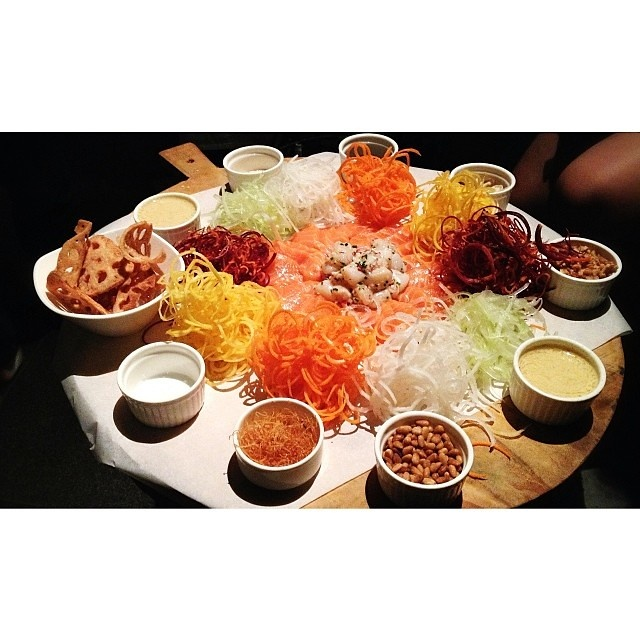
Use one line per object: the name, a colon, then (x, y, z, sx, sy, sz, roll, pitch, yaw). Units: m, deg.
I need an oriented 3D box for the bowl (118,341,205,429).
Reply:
bowl: (-0.644, 0.246, 2.229, 0.349, 0.157, 0.357, 1, 46, -1)

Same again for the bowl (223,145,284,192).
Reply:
bowl: (-0.431, -0.999, 3.382, 0.341, 0.216, 0.344, -2, 51, 3)

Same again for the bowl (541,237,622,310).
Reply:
bowl: (1.304, -0.191, 2.787, 0.353, 0.206, 0.357, 0, 44, 0)

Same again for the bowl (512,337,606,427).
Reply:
bowl: (0.922, 0.229, 2.142, 0.348, 0.170, 0.365, -3, 49, 4)

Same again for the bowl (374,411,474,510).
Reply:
bowl: (0.344, 0.491, 1.884, 0.315, 0.218, 0.294, 0, 41, 0)

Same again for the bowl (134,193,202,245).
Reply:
bowl: (-0.844, -0.591, 3.056, 0.347, 0.212, 0.339, 1, 49, -1)

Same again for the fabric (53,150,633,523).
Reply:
fabric: (0.135, 0.053, 2.412, 1.340, 0.321, 1.285, -2, 45, -1)

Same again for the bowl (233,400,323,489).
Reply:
bowl: (-0.141, 0.440, 1.938, 0.300, 0.189, 0.293, 0, 41, 0)

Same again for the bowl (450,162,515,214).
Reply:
bowl: (0.964, -0.729, 3.285, 0.379, 0.266, 0.352, -3, 53, 4)
